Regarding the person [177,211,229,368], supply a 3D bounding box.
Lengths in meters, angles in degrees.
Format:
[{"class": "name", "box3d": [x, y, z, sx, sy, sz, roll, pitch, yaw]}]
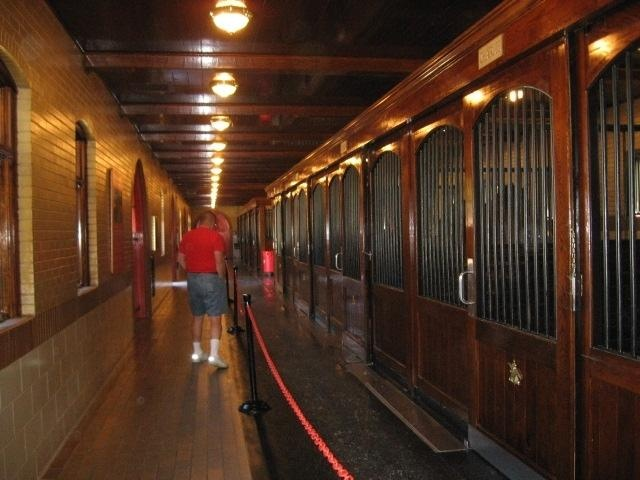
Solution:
[{"class": "person", "box3d": [-1.392, 0.700, 6.365, 0.639, 1.669, 0.311, 1, 3, 32]}]

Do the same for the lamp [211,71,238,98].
[{"class": "lamp", "box3d": [-1.095, -1.789, 6.051, 0.240, 0.240, 0.262, 0, 4, 1]}]

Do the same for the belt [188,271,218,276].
[{"class": "belt", "box3d": [-1.396, 0.405, 6.268, 0.343, 0.040, 0.053, 0, 3, 4]}]

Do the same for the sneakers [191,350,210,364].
[{"class": "sneakers", "box3d": [-1.489, 1.451, 6.601, 0.124, 0.162, 0.348, 1, 3, 19]}]
